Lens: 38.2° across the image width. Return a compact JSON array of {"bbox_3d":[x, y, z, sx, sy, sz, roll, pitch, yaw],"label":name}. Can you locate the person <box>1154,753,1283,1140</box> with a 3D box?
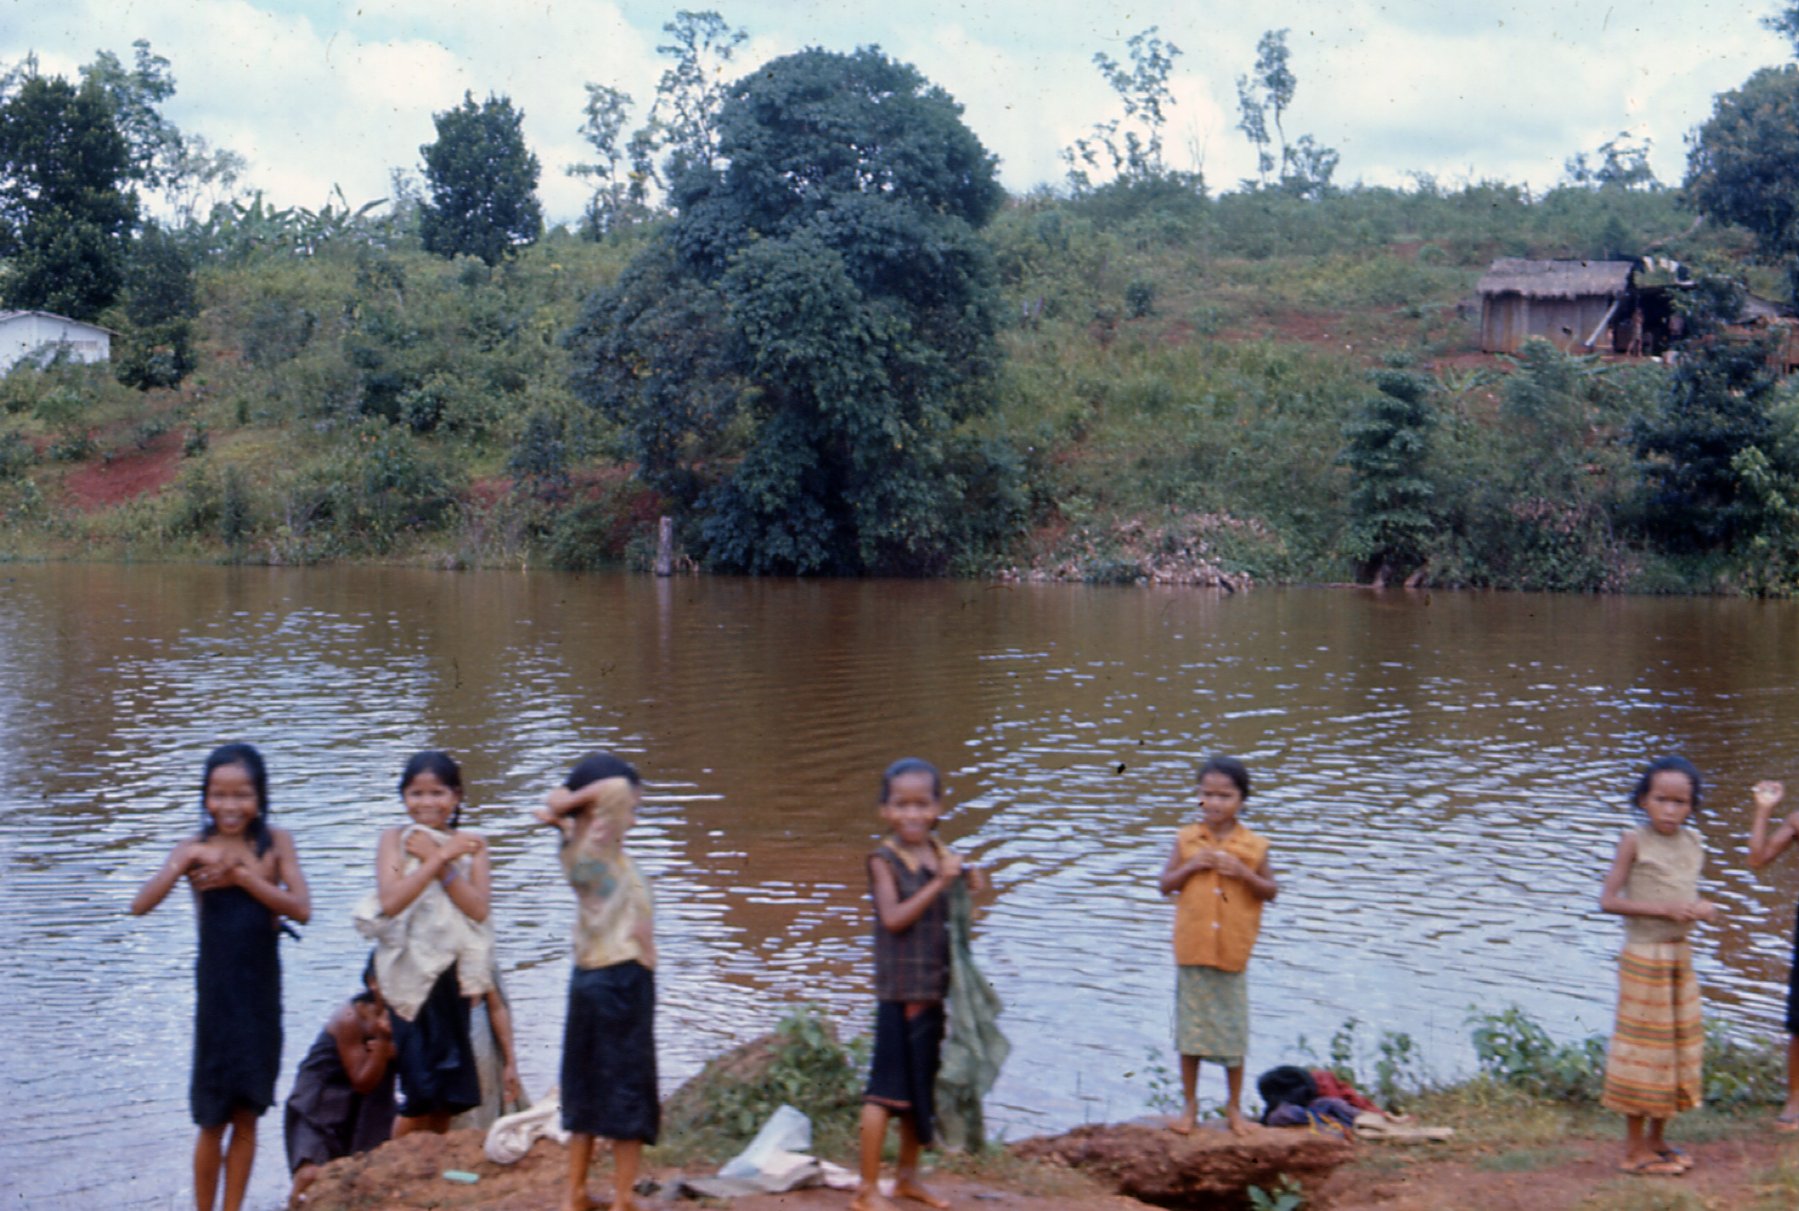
[{"bbox_3d":[3.526,3.768,28.995,1.109,4.143,0.410,-1,0,6],"label":"person"}]

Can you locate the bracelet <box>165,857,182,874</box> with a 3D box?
[{"bbox_3d":[-7.866,2.832,28.161,0.208,0.209,0.052,1,-7,-11],"label":"bracelet"}]

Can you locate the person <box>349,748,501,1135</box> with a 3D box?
[{"bbox_3d":[-5.131,3.691,28.489,1.336,4.210,0.480,-1,0,-12],"label":"person"}]
